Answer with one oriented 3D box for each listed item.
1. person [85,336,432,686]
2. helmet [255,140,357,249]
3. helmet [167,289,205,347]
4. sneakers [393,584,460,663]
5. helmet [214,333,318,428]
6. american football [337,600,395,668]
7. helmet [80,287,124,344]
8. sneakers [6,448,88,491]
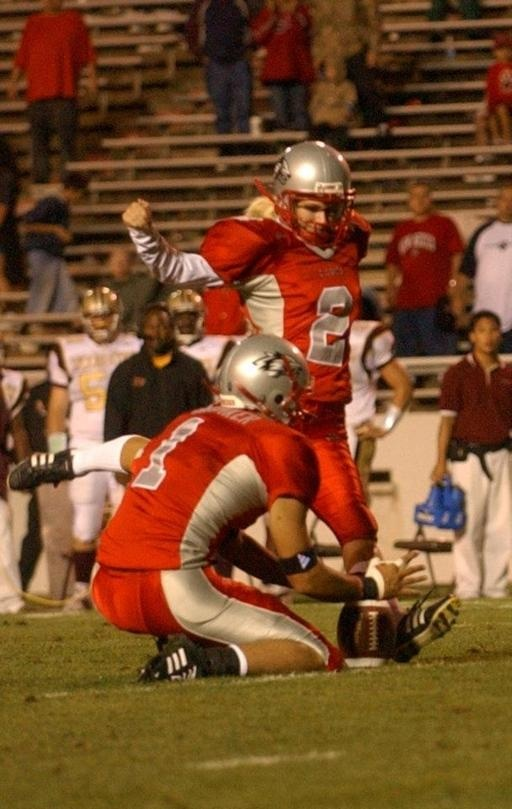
[{"bbox_3d":[-0.032,0.268,2.913,0.842,0.926,0.586,-2,8,-6],"label":"person"},{"bbox_3d":[0.146,-0.694,3.316,0.313,0.269,0.366,2,29,-7],"label":"helmet"},{"bbox_3d":[-0.360,-0.492,5.716,0.225,0.272,0.299,-3,11,2],"label":"helmet"},{"bbox_3d":[0.486,0.611,3.052,0.110,0.307,0.128,9,43,-29],"label":"sneakers"},{"bbox_3d":[0.011,-0.082,2.891,0.221,0.210,0.291,5,7,39],"label":"helmet"},{"bbox_3d":[0.322,0.642,3.149,0.182,0.220,0.152,5,-13,-10],"label":"american football"},{"bbox_3d":[-0.835,-0.520,5.908,0.243,0.289,0.314,-6,13,-6],"label":"helmet"},{"bbox_3d":[-0.623,0.189,3.240,0.285,0.086,0.104,-8,3,9],"label":"sneakers"}]
